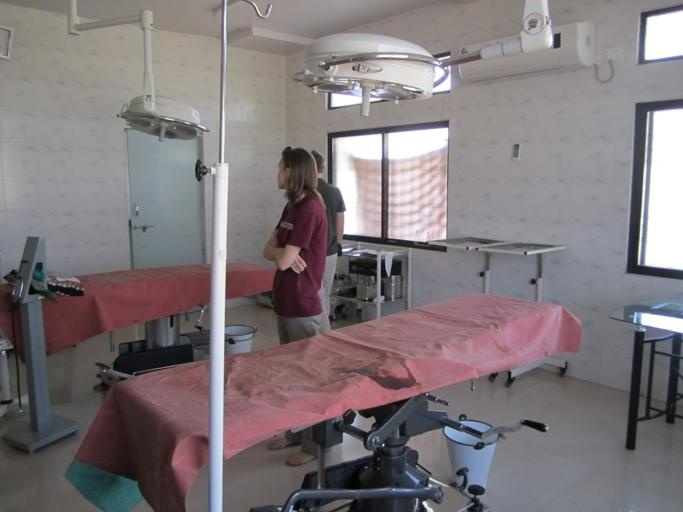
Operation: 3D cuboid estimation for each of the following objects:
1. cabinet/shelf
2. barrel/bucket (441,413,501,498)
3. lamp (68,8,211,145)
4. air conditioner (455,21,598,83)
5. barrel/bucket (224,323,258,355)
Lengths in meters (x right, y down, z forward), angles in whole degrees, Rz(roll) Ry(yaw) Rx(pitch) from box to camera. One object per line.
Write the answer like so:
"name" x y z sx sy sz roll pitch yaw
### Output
"cabinet/shelf" 0.255 0.340 6.562 0.536 0.787 1.038 -6 6 -41
"barrel/bucket" 0.760 1.247 3.586 0.338 0.346 0.309 1 10 0
"lamp" -1.486 -1.264 4.396 1.044 1.145 0.979 -5 15 -21
"air conditioner" 1.772 -1.932 5.401 0.484 0.500 1.584 -12 21 -28
"barrel/bucket" -0.930 0.712 5.147 0.346 0.251 0.302 -2 5 -40
